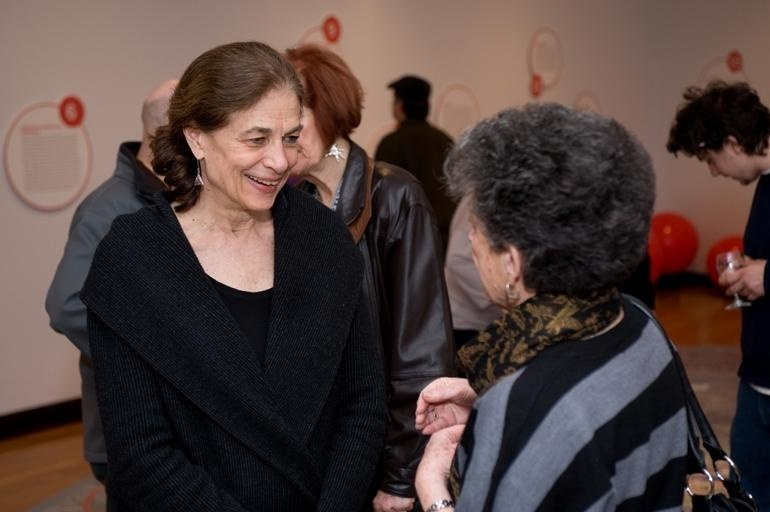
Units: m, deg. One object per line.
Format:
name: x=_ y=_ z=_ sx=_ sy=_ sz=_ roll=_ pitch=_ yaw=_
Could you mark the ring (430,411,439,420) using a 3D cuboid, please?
ring: x=0.175 y=0.553 z=2.401 sx=0.026 sy=0.028 sz=0.007 roll=17 pitch=7 yaw=10
